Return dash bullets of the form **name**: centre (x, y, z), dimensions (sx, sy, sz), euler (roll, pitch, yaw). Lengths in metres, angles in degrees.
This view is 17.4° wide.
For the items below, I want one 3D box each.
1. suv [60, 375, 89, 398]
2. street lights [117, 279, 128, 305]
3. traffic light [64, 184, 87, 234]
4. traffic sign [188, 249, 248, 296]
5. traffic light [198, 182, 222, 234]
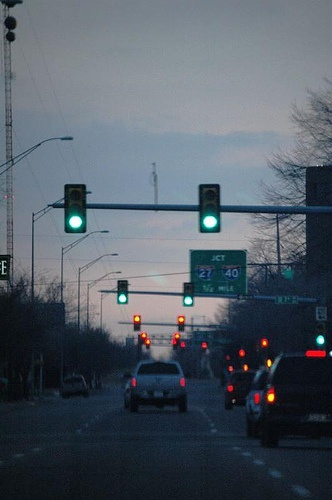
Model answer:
- **suv**: centre (-5.472, 8.083, 63.973), dimensions (1.570, 1.271, 1.791), euler (0, -6, -9)
- **street lights**: centre (-1.737, 1.622, 42.466), dimensions (0.398, 0.877, 0.398), euler (0, -5, -10)
- **traffic light**: centre (-1.831, -0.844, 21.632), dimensions (0.413, 0.961, 0.210), euler (-1, -5, -2)
- **traffic sign**: centre (2.144, 0.905, 45.600), dimensions (2.343, 1.948, 1.097), euler (-1, -5, 0)
- **traffic light**: centre (0.860, -0.859, 21.800), dimensions (0.443, 0.939, 0.275), euler (-1, -5, 0)
